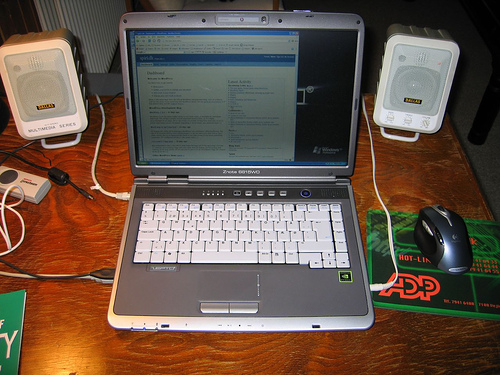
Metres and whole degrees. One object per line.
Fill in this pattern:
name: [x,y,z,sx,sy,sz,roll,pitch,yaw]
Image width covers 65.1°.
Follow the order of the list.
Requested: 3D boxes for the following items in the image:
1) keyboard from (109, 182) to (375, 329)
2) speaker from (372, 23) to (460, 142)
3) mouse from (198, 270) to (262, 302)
keyboard: [-0.019,0.137,0.883,0.541,0.068,0.349,-1,50,1]
speaker: [0.491,-0.348,1.108,0.223,0.212,0.336,13,67,15]
mouse: [-0.042,0.210,0.829,0.147,0.005,0.073,-7,72,16]
